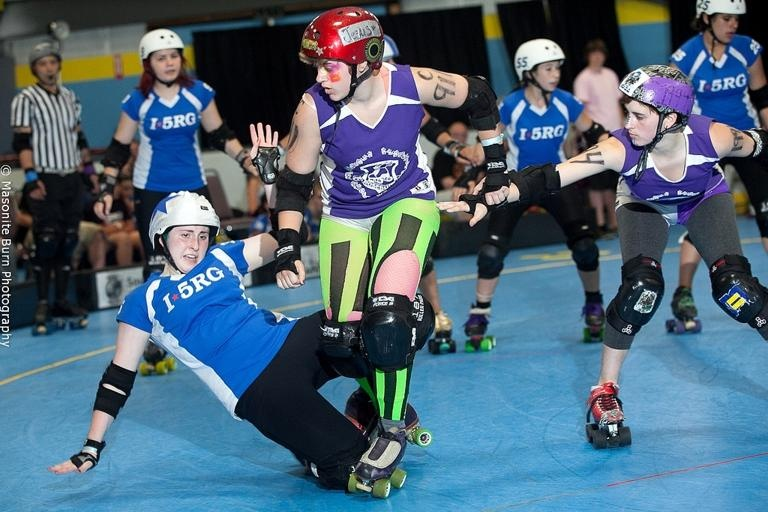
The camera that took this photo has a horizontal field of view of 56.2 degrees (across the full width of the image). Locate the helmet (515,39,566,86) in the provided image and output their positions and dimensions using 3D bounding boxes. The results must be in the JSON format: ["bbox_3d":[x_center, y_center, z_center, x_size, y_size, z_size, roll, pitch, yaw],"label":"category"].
[{"bbox_3d":[1.333,-1.637,6.155,0.351,0.378,0.464,-20,16,-27],"label":"helmet"}]

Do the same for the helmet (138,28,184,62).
[{"bbox_3d":[-1.877,-1.800,5.997,0.284,0.246,0.310,-11,34,-23],"label":"helmet"}]

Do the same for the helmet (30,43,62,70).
[{"bbox_3d":[-3.560,-2.122,7.543,0.253,0.280,0.309,-20,0,-28],"label":"helmet"}]

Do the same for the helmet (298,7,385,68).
[{"bbox_3d":[-0.240,-1.209,4.080,0.432,0.265,0.320,-17,23,-18],"label":"helmet"}]

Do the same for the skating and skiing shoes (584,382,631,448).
[{"bbox_3d":[1.346,0.958,4.311,0.258,0.340,0.260,-1,13,15],"label":"skating and skiing shoes"}]

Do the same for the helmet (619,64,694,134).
[{"bbox_3d":[1.652,-0.964,4.380,0.457,0.355,0.356,6,33,3],"label":"helmet"}]

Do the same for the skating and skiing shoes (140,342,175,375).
[{"bbox_3d":[-1.959,0.955,6.280,0.220,0.150,0.344,-5,0,4],"label":"skating and skiing shoes"}]
